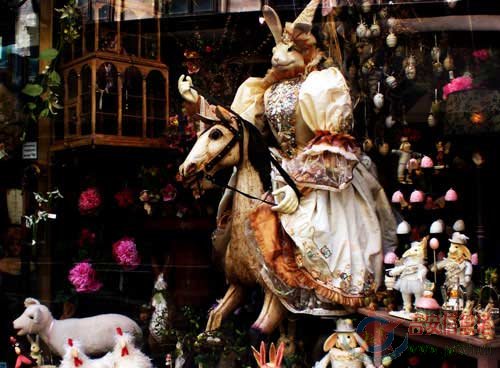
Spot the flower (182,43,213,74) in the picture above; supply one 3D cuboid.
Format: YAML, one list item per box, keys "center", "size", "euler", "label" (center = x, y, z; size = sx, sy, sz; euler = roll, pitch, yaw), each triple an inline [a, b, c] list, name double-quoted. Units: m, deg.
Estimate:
- center: [-0.401, -0.959, 5.393]
  size: [0.228, 0.210, 0.050]
  euler: [0, 7, -3]
  label: "flower"

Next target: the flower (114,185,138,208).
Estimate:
- center: [-0.974, 0.104, 5.414]
  size: [0.150, 0.156, 0.048]
  euler: [-1, 7, -11]
  label: "flower"

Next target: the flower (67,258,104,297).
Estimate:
- center: [-1.287, 0.731, 5.460]
  size: [0.232, 0.233, 0.135]
  euler: [-30, -13, 0]
  label: "flower"

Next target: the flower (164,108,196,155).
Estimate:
- center: [-0.541, -0.406, 5.333]
  size: [0.283, 0.286, 0.129]
  euler: [41, 18, 25]
  label: "flower"

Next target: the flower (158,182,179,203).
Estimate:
- center: [-0.627, 0.071, 5.380]
  size: [0.122, 0.129, 0.046]
  euler: [0, -1, 12]
  label: "flower"

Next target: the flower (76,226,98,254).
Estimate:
- center: [-1.279, 0.437, 5.446]
  size: [0.168, 0.183, 0.037]
  euler: [3, 8, 23]
  label: "flower"
